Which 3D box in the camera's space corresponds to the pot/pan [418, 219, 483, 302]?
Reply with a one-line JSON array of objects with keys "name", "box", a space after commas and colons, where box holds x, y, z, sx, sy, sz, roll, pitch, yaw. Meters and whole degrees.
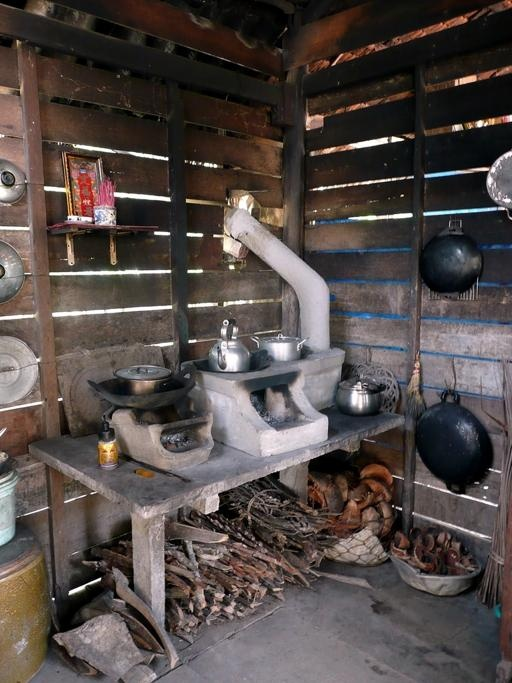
[{"name": "pot/pan", "box": [1.084, -0.464, 3.030, 0.166, 0.423, 0.365, 1, 5, -29]}]

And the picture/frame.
[{"name": "picture/frame", "box": [-0.857, -0.770, 2.644, 0.197, 0.319, 0.117, 1, 5, -26]}]

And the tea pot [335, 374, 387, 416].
[{"name": "tea pot", "box": [0.625, 0.331, 3.277, 0.180, 0.169, 0.289, -7, 14, -28]}]

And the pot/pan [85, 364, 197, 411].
[{"name": "pot/pan", "box": [-0.520, 0.246, 2.451, 0.463, 0.186, 0.410, 2, 4, -14]}]

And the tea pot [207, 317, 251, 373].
[{"name": "tea pot", "box": [-0.136, 0.025, 2.775, 0.222, 0.269, 0.205, 3, 4, 0]}]

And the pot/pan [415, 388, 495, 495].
[{"name": "pot/pan", "box": [1.129, 0.598, 3.140, 0.197, 0.619, 0.460, 1, 5, -27]}]

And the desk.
[{"name": "desk", "box": [-0.157, 0.894, 3.031, 0.992, 0.846, 1.862, 11, 12, 39]}]
